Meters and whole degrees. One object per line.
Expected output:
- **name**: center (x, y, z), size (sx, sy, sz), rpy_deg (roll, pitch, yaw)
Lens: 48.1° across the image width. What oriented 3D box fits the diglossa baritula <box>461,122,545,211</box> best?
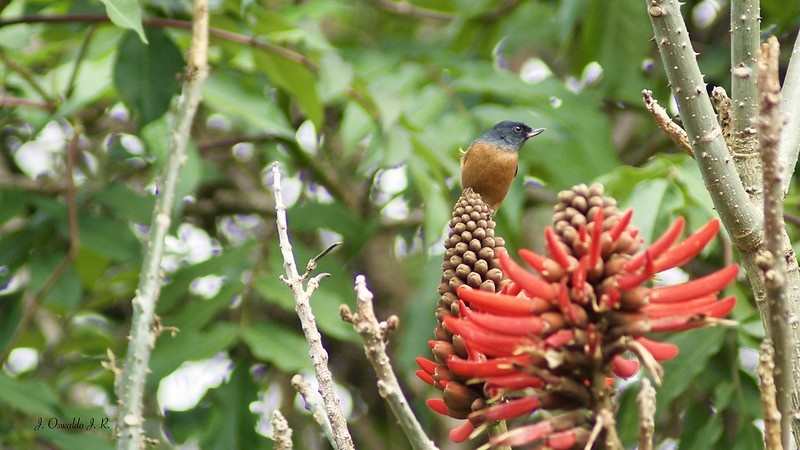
- **diglossa baritula**: center (0.575, -0.355, 5.059), size (0.339, 0.252, 0.555), rpy_deg (6, 18, 12)
